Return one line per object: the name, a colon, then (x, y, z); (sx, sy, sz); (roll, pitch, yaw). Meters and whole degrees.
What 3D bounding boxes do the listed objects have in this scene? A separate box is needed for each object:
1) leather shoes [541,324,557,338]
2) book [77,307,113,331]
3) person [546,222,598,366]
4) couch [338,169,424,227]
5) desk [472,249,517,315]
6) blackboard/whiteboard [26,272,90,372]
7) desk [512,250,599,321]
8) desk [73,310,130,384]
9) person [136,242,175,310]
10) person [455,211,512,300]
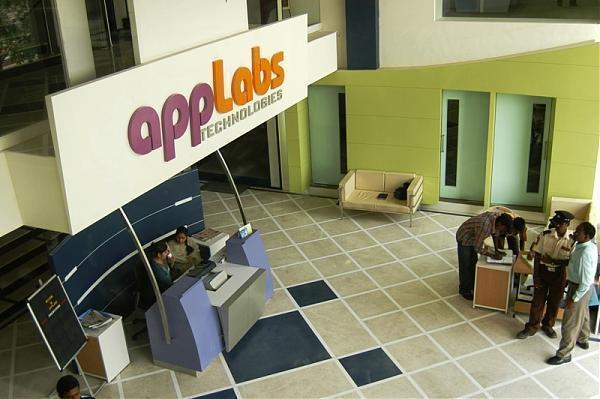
leather shoes: (4.330, 2.298, 8.124); (0.135, 0.124, 0.297); (-23, 36, -22)
book: (-3.356, 1.962, 7.613); (0.401, 0.118, 0.298); (14, 23, 18)
person: (4.368, 1.540, 7.379); (0.438, 2.302, 0.650); (11, 25, 24)
couch: (2.028, -0.124, 11.751); (1.943, 0.921, 1.164); (8, 23, 18)
desk: (3.818, 1.707, 8.784); (0.982, 0.837, 0.721); (10, -5, -36)
blackboard/whiteboard: (-3.560, 1.797, 6.843); (0.370, 1.275, 0.638); (6, 23, 14)
desk: (4.445, 1.490, 8.330); (1.291, 1.071, 1.273); (1, 15, 15)
desk: (-3.261, 2.425, 7.570); (0.785, 1.102, 0.751); (21, 40, 23)
person: (-2.634, 1.406, 8.384); (0.684, 1.225, 0.868); (-7, 23, -17)
person: (3.380, 1.081, 8.554); (1.103, 1.744, 0.814); (5, 36, 25)
